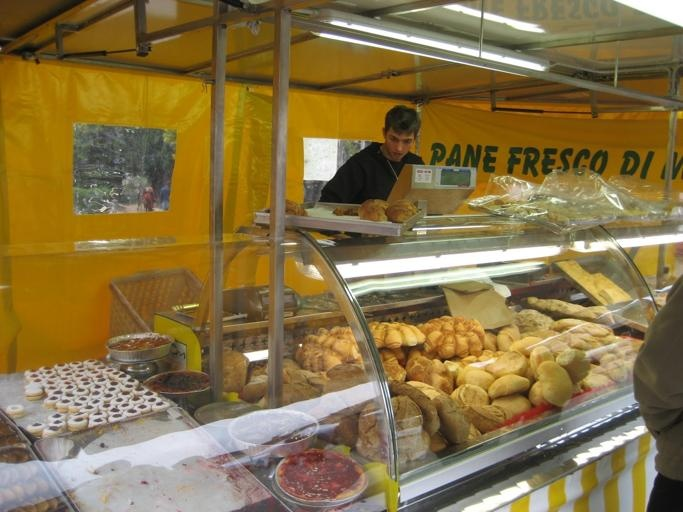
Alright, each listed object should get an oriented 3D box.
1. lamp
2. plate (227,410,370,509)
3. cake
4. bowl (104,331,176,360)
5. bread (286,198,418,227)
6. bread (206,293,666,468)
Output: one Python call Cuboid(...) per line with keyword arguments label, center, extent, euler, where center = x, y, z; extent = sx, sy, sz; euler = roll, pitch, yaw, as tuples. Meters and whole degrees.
Cuboid(label="lamp", center=(0.484, -0.909, 2.202), extent=(1.250, 0.170, 0.285), euler=(-8, 17, -33))
Cuboid(label="plate", center=(-0.136, 0.629, 1.591), extent=(0.400, 0.202, 0.230), euler=(9, 17, 28))
Cuboid(label="cake", center=(-0.834, 0.439, 1.609), extent=(0.428, 0.082, 0.358), euler=(12, 17, 37))
Cuboid(label="bowl", center=(-0.731, 0.329, 1.856), extent=(0.126, 0.082, 0.214), euler=(12, 18, 35))
Cuboid(label="bread", center=(0.058, -0.191, 2.003), extent=(0.492, 0.075, 0.384), euler=(3, 14, 7))
Cuboid(label="bread", center=(0.567, 0.451, 2.068), extent=(1.755, 0.330, 0.538), euler=(-5, 27, -28))
